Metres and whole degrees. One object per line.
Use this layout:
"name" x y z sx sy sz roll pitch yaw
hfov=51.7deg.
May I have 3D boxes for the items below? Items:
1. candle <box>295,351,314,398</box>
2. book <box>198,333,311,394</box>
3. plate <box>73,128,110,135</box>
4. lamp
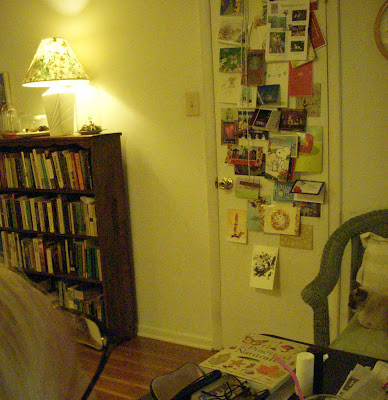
"candle" 0.284 0.446 1.022 0.046 0.112 0.068 4 14 16
"book" 0.217 0.521 1.335 0.235 0.030 0.318 8 12 39
"plate" -0.588 -0.402 2.332 0.122 0.015 0.085 -4 3 6
"lamp" -0.794 -0.665 2.341 0.357 0.560 0.355 -3 14 -15
